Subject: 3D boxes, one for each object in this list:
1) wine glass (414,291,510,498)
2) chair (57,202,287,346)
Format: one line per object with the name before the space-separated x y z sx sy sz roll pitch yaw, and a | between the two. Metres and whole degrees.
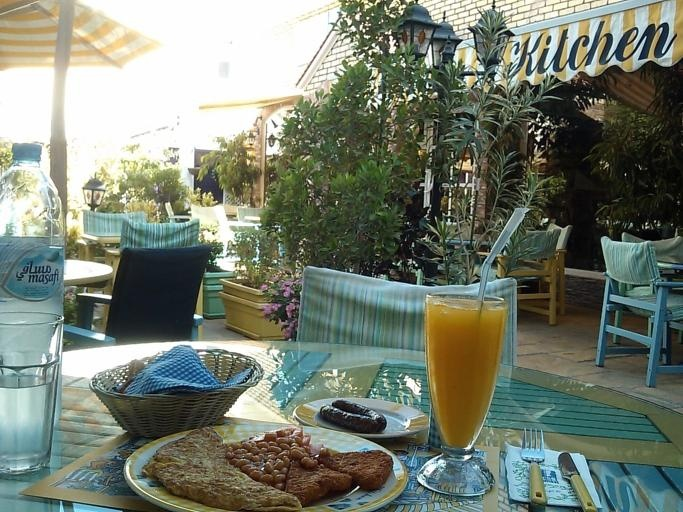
wine glass | 0.171 0.188 0.680 0.115 0.258 0.144 2 6 18
chair | -1.156 0.181 2.871 0.724 1.223 0.804 -2 5 -43
